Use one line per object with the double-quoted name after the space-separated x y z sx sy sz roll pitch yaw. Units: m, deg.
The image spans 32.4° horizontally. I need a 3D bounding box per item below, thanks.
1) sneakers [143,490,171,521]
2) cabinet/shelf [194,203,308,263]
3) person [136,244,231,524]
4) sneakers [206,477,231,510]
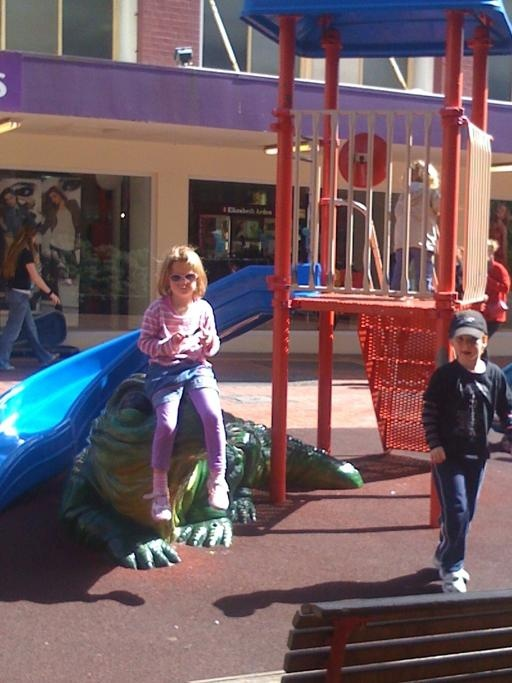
-0.467 0.775 4.205 0.122 0.168 0.298 3 6 -7 "sneakers"
-0.178 -1.406 11.253 1.576 1.045 0.834 -1 8 -22 "cabinet/shelf"
-0.337 0.201 4.346 0.462 1.330 0.631 2 5 -14 "person"
-0.188 0.742 4.215 0.098 0.162 0.063 -4 14 3 "sneakers"
